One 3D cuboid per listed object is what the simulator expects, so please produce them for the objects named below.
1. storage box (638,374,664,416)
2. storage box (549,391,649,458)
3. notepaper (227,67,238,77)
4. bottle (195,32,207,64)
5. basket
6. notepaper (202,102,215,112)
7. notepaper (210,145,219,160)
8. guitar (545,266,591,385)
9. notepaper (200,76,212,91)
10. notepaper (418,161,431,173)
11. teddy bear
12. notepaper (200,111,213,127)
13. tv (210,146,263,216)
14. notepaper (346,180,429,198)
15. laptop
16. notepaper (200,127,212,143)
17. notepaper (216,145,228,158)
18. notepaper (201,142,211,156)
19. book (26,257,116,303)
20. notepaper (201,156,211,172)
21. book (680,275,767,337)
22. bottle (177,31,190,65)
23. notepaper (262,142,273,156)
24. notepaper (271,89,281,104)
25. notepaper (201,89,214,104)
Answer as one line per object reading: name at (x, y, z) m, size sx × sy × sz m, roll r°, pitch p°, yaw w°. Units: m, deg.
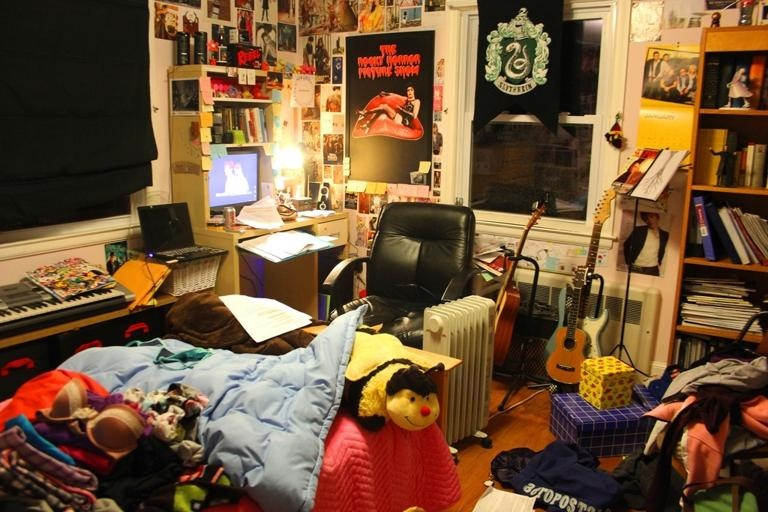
storage box at (1.745, 0.928, 3.649) m, size 0.149 × 0.071 × 0.192 m, roll -9°, pitch 19°, yaw -11°
storage box at (1.380, 1.058, 3.495) m, size 0.588 × 0.287 × 0.306 m, roll -2°, pitch 16°, yaw -9°
notepaper at (-1.146, -1.381, 4.144) m, size 0.031 × 0.066 × 0.082 m, roll 8°, pitch 17°, yaw 26°
bottle at (-1.344, -1.537, 4.080) m, size 0.114 × 0.219 × 0.083 m, roll -11°, pitch 19°, yaw -35°
basket at (-1.442, 0.075, 4.021) m, size 0.347 × 0.297 × 0.161 m, roll 2°, pitch 14°, yaw 19°
notepaper at (-1.282, -1.077, 3.998) m, size 0.013 × 0.058 × 0.091 m, roll 11°, pitch 16°, yaw 39°
notepaper at (-1.274, -0.771, 4.120) m, size 0.019 × 0.080 × 0.082 m, roll 2°, pitch 13°, yaw 34°
guitar at (1.299, 0.510, 3.878) m, size 0.259 × 0.853 × 0.377 m, roll 7°, pitch 17°, yaw 24°
notepaper at (-1.284, -1.236, 3.968) m, size 0.098 × 0.097 × 0.022 m, roll -11°, pitch 13°, yaw -44°
notepaper at (0.332, -0.743, 4.630) m, size 0.103 × 0.091 × 0.094 m, roll 5°, pitch 7°, yaw -7°
teddy bear at (0.002, 0.582, 2.536) m, size 0.387 × 0.194 × 0.465 m, roll -18°, pitch 36°, yaw -40°
notepaper at (-1.283, -0.992, 3.995) m, size 0.024 × 0.096 × 0.104 m, roll 10°, pitch 16°, yaw 44°
tv at (-1.200, -0.595, 4.404) m, size 0.068 × 0.445 × 0.512 m, roll 8°, pitch 19°, yaw 26°
notepaper at (0.021, -0.578, 4.804) m, size 0.800 × 0.126 × 0.033 m, roll 8°, pitch 17°, yaw 25°
laptop at (-1.460, -0.173, 4.005) m, size 0.494 × 0.377 × 0.499 m, roll 7°, pitch 13°, yaw 30°
notepaper at (-1.296, -0.877, 4.020) m, size 0.026 × 0.096 × 0.098 m, roll 6°, pitch 12°, yaw 36°
notepaper at (-1.230, -0.787, 4.152) m, size 0.085 × 0.080 × 0.023 m, roll -10°, pitch 14°, yaw -43°
notepaper at (-1.302, -0.781, 4.046) m, size 0.020 × 0.076 × 0.082 m, roll 2°, pitch 5°, yaw 21°
book at (-1.991, 0.144, 3.541) m, size 0.312 × 0.086 × 0.329 m, roll 29°, pitch 29°, yaw 31°
notepaper at (-1.312, -0.680, 4.072) m, size 0.021 × 0.091 × 0.091 m, roll 6°, pitch 9°, yaw 28°
book at (2.232, 0.338, 3.617) m, size 0.382 × 0.145 × 0.429 m, roll 6°, pitch 5°, yaw 36°
bottle at (-1.491, -1.535, 4.095) m, size 0.106 × 0.225 × 0.087 m, roll -6°, pitch 17°, yaw -20°
notepaper at (-0.955, -0.875, 4.591) m, size 0.074 × 0.103 × 0.101 m, roll 0°, pitch 13°, yaw 6°
notepaper at (-0.885, -1.297, 4.482) m, size 0.008 × 0.074 × 0.108 m, roll 7°, pitch 21°, yaw 19°
notepaper at (-1.279, -1.147, 3.981) m, size 0.035 × 0.103 × 0.102 m, roll 7°, pitch 16°, yaw 32°
